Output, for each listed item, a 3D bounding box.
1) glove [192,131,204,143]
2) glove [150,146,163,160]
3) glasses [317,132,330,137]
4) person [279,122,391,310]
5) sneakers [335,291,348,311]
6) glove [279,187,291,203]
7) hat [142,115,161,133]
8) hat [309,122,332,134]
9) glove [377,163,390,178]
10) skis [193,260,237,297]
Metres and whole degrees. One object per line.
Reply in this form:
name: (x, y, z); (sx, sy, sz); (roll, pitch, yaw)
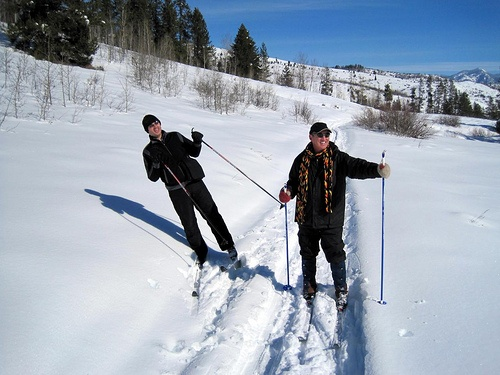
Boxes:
glove: (-0.906, -0.864, 6.392); (0.160, 0.186, 0.301); (2, 10, -4)
glove: (-1.573, -0.579, 6.198); (0.176, 0.218, 0.160); (-19, -18, 15)
glasses: (1.083, -0.759, 5.377); (0.215, 0.085, 0.101); (-3, 11, -27)
person: (1.108, 0.434, 5.618); (1.378, 2.776, 0.356); (5, 9, 18)
sneakers: (1.403, 1.730, 5.697); (0.127, 0.312, 0.126); (-4, -37, 25)
glove: (0.525, 0.115, 5.655); (0.142, 0.227, 0.081); (-4, -9, 12)
hat: (-1.712, -1.078, 6.298); (0.252, 0.302, 0.390); (-3, 12, -31)
hat: (1.006, -0.848, 5.367); (0.162, 0.135, 0.236); (-7, -5, -24)
glove: (1.865, -0.225, 5.157); (0.157, 0.204, 0.211); (9, 12, 36)
skis: (-0.618, 1.588, 6.396); (0.978, 0.187, 0.217); (-15, -5, -5)
